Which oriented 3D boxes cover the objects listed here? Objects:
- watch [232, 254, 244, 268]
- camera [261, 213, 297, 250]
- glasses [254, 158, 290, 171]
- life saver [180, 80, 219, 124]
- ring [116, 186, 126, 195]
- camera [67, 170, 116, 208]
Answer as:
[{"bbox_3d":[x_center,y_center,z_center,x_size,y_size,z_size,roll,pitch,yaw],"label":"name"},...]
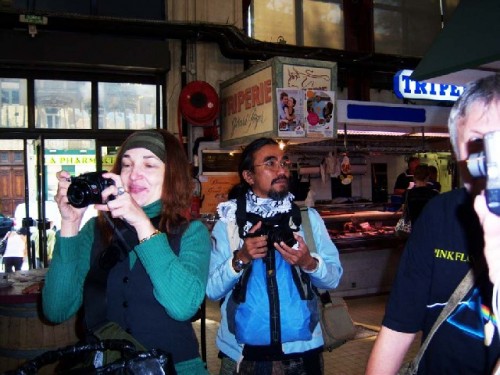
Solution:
[{"bbox_3d":[-0.066,0.454,2.664,0.054,0.074,0.065,5,40,35],"label":"watch"},{"bbox_3d":[0.180,0.269,2.712,0.226,0.177,0.311,-2,2,6],"label":"camera"},{"bbox_3d":[0.181,-0.163,3.029,0.128,0.046,0.133,-2,-6,-38],"label":"glasses"},{"bbox_3d":[-0.906,-1.492,7.514,0.698,0.761,0.288,-2,2,-5],"label":"life saver"},{"bbox_3d":[-0.618,0.016,2.041,0.031,0.038,0.016,-10,8,-28],"label":"ring"},{"bbox_3d":[-0.781,0.006,2.102,0.230,0.148,0.165,3,7,27],"label":"camera"}]
